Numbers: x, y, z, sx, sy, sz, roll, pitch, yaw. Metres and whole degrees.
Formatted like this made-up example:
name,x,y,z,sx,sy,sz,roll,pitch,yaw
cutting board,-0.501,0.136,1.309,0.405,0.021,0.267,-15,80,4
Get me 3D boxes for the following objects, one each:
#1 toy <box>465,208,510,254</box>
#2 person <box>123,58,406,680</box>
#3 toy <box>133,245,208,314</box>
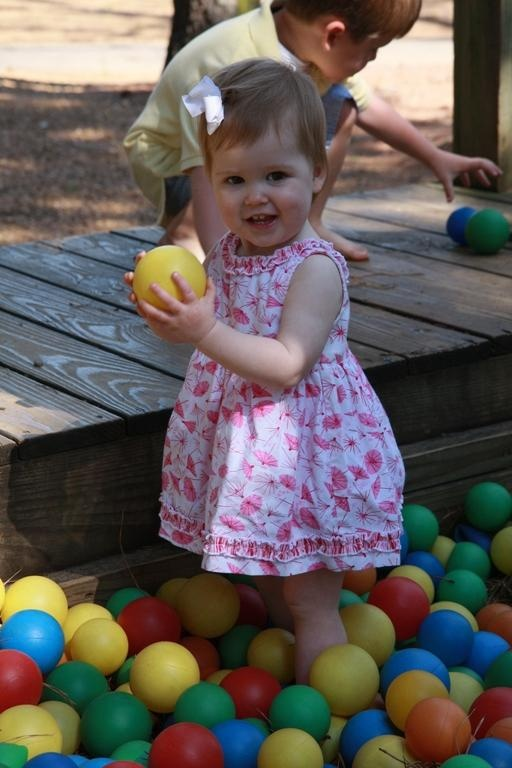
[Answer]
name,x,y,z,sx,sy,sz,roll,pitch,yaw
toy,0.872,-0.569,2.656,0.122,0.134,0.122,35,60,26
person,0.004,0.018,1.241,0.492,1.119,0.456,5,20,22
toy,-0.134,-0.164,1.049,0.105,0.070,0.109,6,19,24
